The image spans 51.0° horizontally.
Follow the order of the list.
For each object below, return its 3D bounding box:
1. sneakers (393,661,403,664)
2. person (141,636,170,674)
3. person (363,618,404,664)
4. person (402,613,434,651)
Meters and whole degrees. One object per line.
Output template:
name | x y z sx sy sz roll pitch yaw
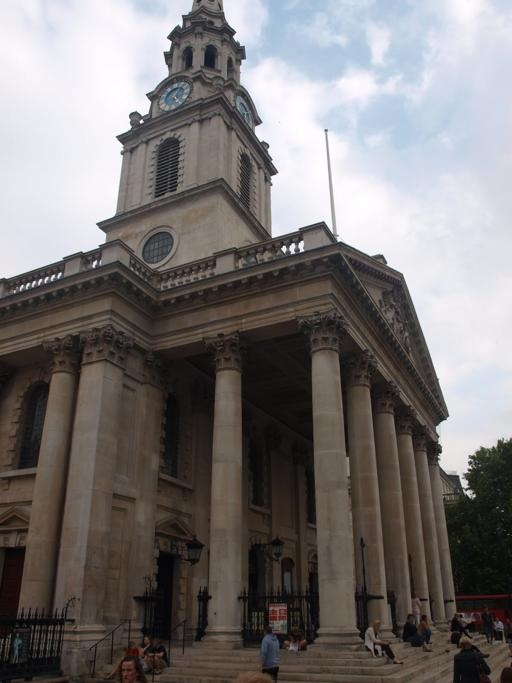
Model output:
sneakers | 3.642 8.218 13.699 0.213 0.089 0.074 -11 -26 24
person | -2.575 8.086 13.775 0.704 0.801 1.775 2 -27 -10
person | 3.241 7.840 13.938 0.747 0.972 1.530 -12 -28 20
person | 5.747 10.479 19.331 0.918 1.050 3.345 -9 -27 13
